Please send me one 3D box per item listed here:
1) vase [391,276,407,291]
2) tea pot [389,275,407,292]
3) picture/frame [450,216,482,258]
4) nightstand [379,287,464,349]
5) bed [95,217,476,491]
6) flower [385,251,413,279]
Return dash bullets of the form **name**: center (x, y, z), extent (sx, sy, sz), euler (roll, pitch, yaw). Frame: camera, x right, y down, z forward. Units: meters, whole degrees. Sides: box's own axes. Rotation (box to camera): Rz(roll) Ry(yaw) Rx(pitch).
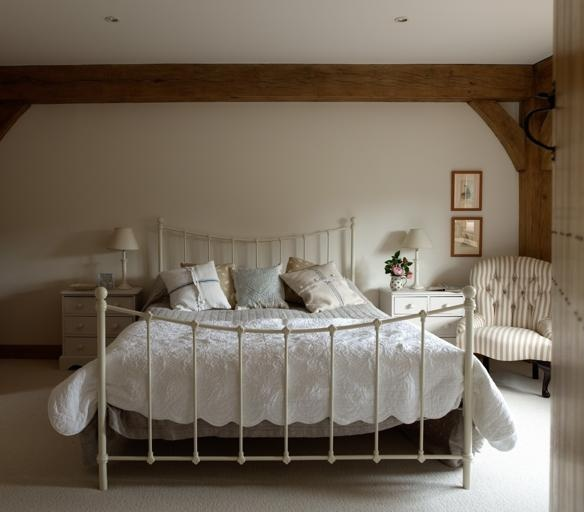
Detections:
- **vase**: center (0.889, 0.236, 4.570), extent (0.136, 0.105, 0.086), euler (3, -2, -33)
- **tea pot**: center (0.894, 0.226, 4.571), extent (0.139, 0.107, 0.089), euler (4, -2, -24)
- **picture/frame**: center (1.518, -0.186, 4.786), extent (0.343, 0.471, 0.023), euler (0, 2, -5)
- **nightstand**: center (1.062, 0.432, 4.548), extent (0.614, 0.620, 0.439), euler (0, -2, -2)
- **bed**: center (0.000, 0.404, 3.107), extent (1.241, 0.817, 1.293), euler (1, 2, 5)
- **flower**: center (0.918, 0.084, 4.604), extent (0.157, 0.231, 0.238), euler (-12, -14, 18)
